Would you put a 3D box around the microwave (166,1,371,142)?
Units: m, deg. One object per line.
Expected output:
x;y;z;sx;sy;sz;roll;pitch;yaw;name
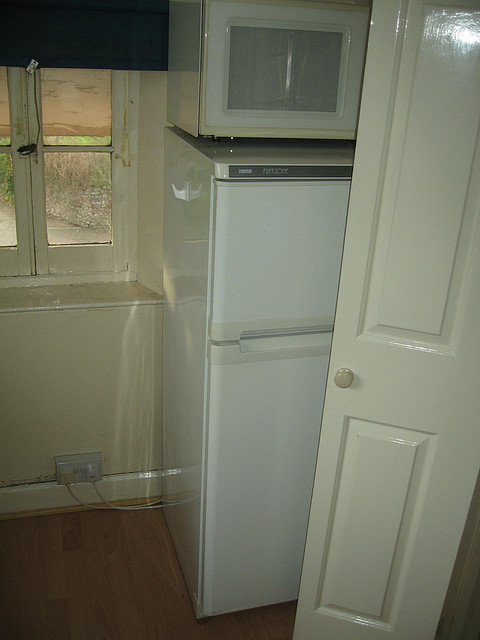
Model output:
0.065;-0.605;1.193;0.446;0.366;0.329;-1;-3;-14;microwave

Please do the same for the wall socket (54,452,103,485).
-0.659;0.603;1.978;0.181;0.127;0.016;-1;19;-18;wall socket
